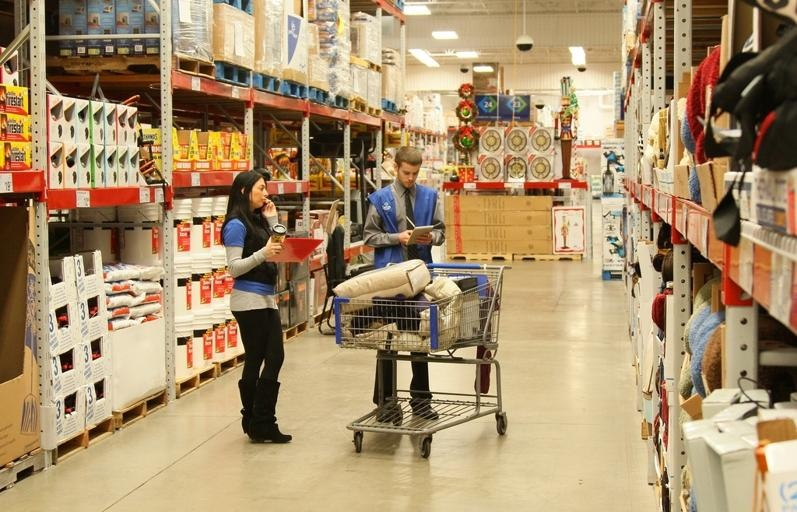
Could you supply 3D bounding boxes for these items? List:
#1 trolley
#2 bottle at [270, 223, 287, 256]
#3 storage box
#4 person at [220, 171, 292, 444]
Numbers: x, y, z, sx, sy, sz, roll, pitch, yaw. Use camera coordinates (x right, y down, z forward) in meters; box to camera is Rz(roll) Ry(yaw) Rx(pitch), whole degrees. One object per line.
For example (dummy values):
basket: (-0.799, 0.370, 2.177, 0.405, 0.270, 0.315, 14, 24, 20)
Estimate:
trolley: (0.213, 0.724, 5.320, 0.906, 1.410, 1.459, -2, -5, 26)
bottle: (-0.859, -0.142, 4.842, 0.128, 0.186, 0.129, 6, 41, -5)
storage box: (2.267, -0.666, 15.321, 2.263, 1.389, 0.565, 3, 7, 20)
person: (-1.080, 0.398, 5.145, 0.476, 2.083, 0.643, -2, 7, -15)
